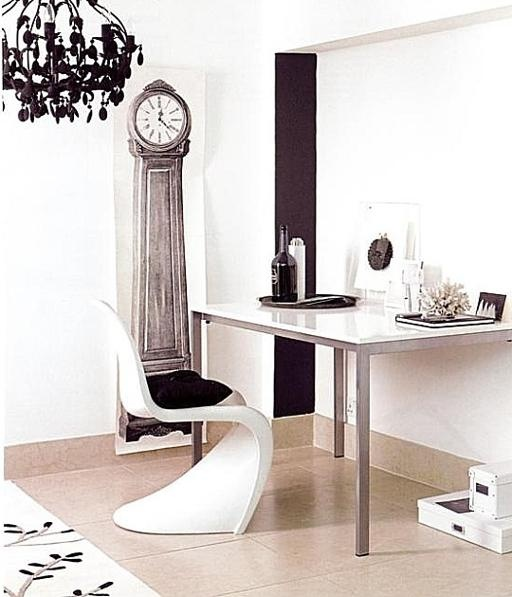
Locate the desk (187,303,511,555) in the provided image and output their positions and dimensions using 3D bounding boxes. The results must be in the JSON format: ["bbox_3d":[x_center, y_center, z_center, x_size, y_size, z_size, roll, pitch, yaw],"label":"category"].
[{"bbox_3d":[0.513,0.630,2.921,0.929,0.943,1.583,-3,5,-33],"label":"desk"}]

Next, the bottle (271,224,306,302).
[{"bbox_3d":[0.167,-0.172,3.221,0.172,0.381,0.212,0,2,-5],"label":"bottle"}]

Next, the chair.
[{"bbox_3d":[-0.305,0.566,3.194,0.958,1.316,0.774,0,0,-20],"label":"chair"}]
